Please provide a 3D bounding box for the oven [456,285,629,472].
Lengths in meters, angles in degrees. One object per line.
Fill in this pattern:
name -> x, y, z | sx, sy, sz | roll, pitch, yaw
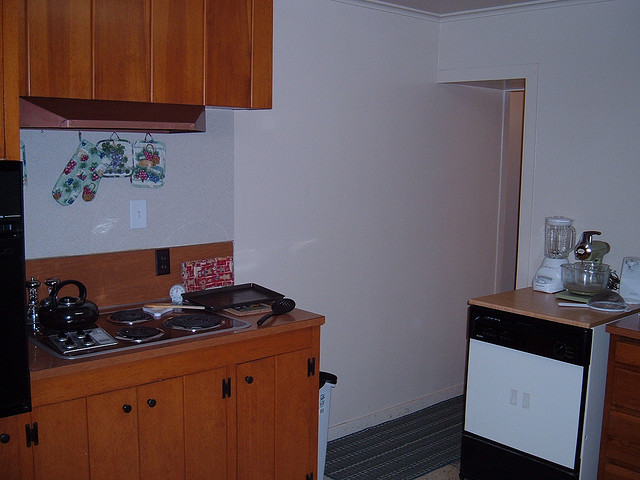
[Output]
oven -> 1.212, 0.872, 2.946 | 0.742, 1.034, 0.335 | 5, 9, 39

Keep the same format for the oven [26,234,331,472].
oven -> -0.742, 0.693, 2.514 | 1.318, 1.306, 0.841 | -4, 4, -40

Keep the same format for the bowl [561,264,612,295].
bowl -> 1.532, 0.220, 3.019 | 0.204, 0.110, 0.171 | 1, 3, 1

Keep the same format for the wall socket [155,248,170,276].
wall socket -> -0.851, 0.118, 2.791 | 0.080, 0.137, 0.015 | -7, 9, -40
